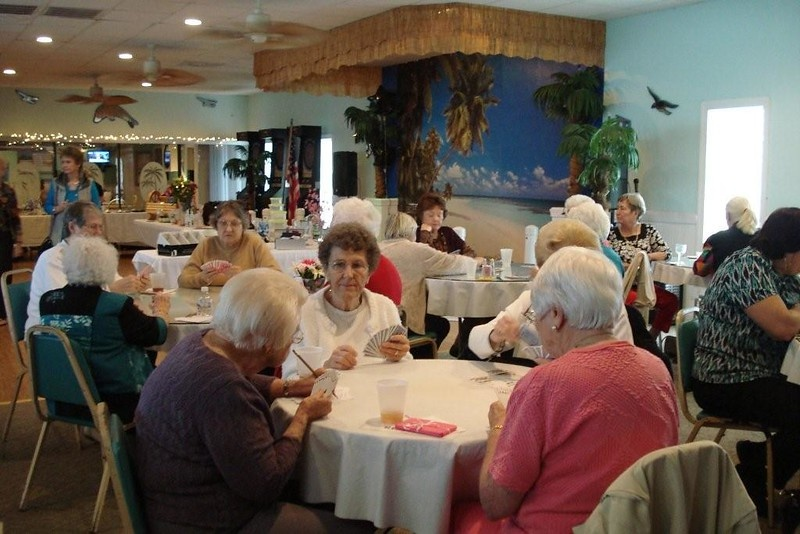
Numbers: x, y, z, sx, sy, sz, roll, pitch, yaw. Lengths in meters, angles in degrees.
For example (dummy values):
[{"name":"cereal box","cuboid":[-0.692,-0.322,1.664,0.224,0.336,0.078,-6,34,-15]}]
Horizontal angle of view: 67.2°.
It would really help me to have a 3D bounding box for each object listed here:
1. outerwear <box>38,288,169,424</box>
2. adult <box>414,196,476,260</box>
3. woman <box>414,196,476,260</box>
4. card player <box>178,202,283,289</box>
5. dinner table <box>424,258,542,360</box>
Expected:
[{"name":"outerwear","cuboid":[-1.620,0.486,3.229,0.613,0.722,0.485,5,29,8]},{"name":"adult","cuboid":[0.401,-0.336,5.974,0.517,0.725,0.674,-6,1,-34]},{"name":"woman","cuboid":[0.388,-0.329,6.001,0.533,0.722,0.631,-5,2,-37]},{"name":"card player","cuboid":[-1.378,-0.141,4.851,0.836,0.730,0.613,0,8,9]},{"name":"dinner table","cuboid":[0.643,0.325,5.247,0.882,0.657,0.854,1,1,1]}]
